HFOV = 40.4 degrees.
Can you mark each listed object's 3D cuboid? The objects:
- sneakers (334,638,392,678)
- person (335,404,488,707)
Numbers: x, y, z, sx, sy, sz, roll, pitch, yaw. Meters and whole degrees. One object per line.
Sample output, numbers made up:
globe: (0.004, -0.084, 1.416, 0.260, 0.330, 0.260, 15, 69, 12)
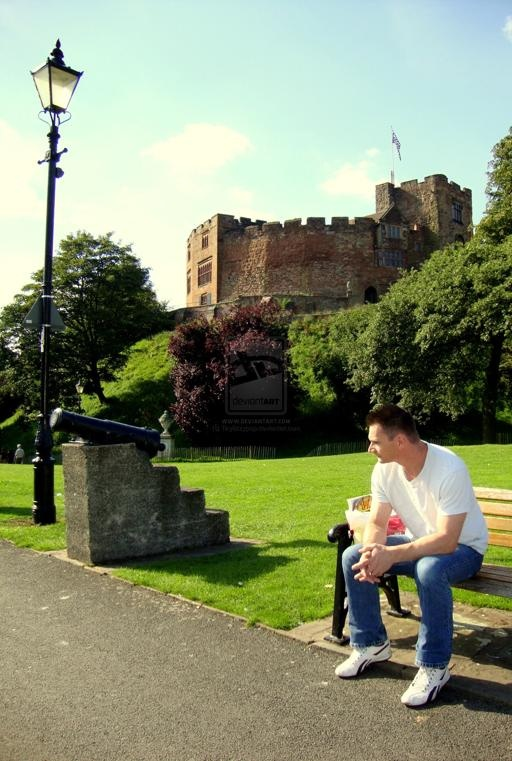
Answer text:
sneakers: (0.624, 1.619, 4.112, 0.406, 0.164, 0.125, -12, 2, -26)
person: (0.880, 0.930, 4.061, 0.713, 1.578, 0.715, 2, -4, -40)
